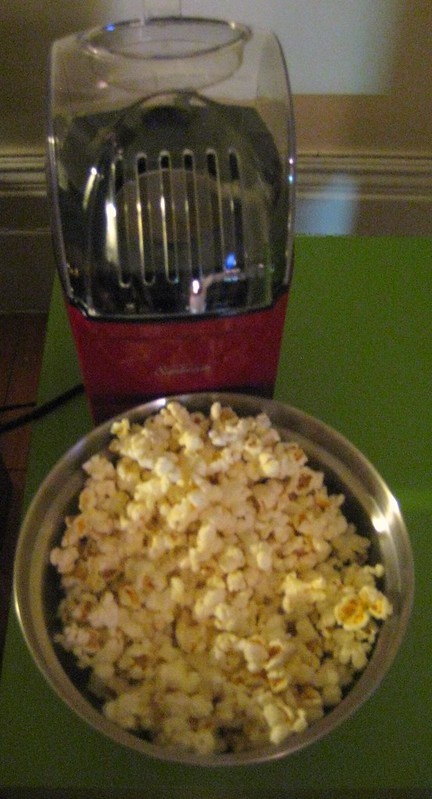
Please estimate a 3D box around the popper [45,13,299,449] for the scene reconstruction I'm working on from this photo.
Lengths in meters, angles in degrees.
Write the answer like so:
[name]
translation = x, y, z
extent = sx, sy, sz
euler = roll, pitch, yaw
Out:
[popper]
translation = -0.051, -0.211, 0.835
extent = 0.269, 0.368, 0.360
euler = -3, 53, -4
